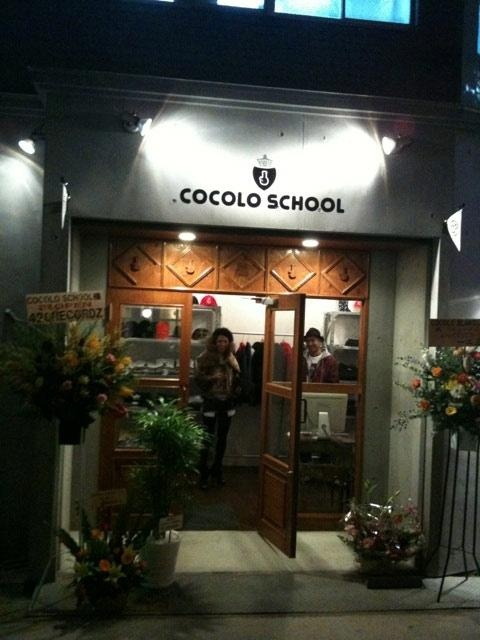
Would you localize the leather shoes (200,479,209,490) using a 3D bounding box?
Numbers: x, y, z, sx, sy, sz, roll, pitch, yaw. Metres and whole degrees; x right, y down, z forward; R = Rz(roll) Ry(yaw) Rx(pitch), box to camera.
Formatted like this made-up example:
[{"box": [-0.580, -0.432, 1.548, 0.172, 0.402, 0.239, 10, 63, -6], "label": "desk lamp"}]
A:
[{"box": [-0.371, 1.701, 6.019, 0.115, 0.109, 0.073, 2, -4, -4], "label": "leather shoes"}]

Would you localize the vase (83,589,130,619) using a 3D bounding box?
[{"box": [-0.787, 1.635, 3.348, 0.198, 0.083, 0.157, 1, -21, -1], "label": "vase"}]

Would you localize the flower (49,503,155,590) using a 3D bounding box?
[{"box": [-0.801, 1.341, 3.427, 0.470, 0.446, 0.380, 3, -2, 15], "label": "flower"}]

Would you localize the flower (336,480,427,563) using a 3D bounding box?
[{"box": [1.029, 1.462, 4.183, 0.567, 0.472, 0.434, 3, -2, 4], "label": "flower"}]

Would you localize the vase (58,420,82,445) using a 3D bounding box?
[{"box": [-1.030, 0.682, 3.512, 0.131, 0.173, 0.213, 4, -2, -17], "label": "vase"}]

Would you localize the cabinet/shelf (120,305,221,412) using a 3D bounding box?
[{"box": [-0.615, 0.361, 5.026, 1.238, 1.140, 0.409, 0, 3, -6], "label": "cabinet/shelf"}]

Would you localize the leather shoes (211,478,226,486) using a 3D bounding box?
[{"box": [-0.237, 1.761, 6.289, 0.142, 0.135, 0.062, -1, -1, 21], "label": "leather shoes"}]

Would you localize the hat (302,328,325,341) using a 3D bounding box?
[{"box": [0.644, 0.123, 5.016, 0.220, 0.112, 0.047, 4, -3, -38], "label": "hat"}]
